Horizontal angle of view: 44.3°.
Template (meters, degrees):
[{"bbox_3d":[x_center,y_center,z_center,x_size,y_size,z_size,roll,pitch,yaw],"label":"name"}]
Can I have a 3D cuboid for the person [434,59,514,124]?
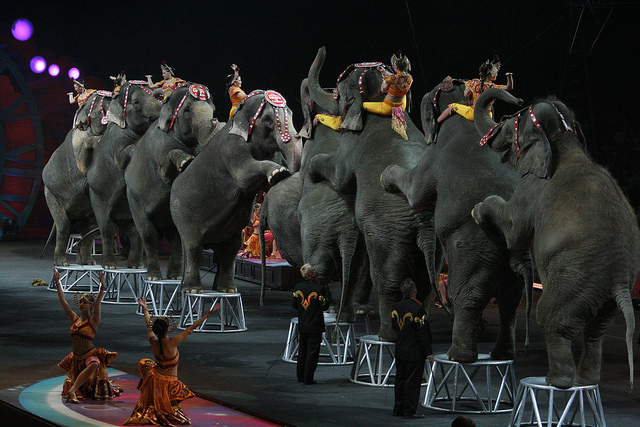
[{"bbox_3d":[1.521,-1.187,7.888,0.970,0.739,0.298,-7,34,-25],"label":"person"}]

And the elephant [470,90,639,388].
[{"bbox_3d":[2.092,0.167,6.967,1.438,2.664,0.637,7,-11,8],"label":"elephant"}]

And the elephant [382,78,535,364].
[{"bbox_3d":[1.570,-0.127,8.725,1.349,2.490,3.655,-2,16,-5],"label":"elephant"}]

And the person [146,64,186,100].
[{"bbox_3d":[-2.264,-1.894,11.581,0.638,0.624,0.269,-6,-4,10],"label":"person"}]

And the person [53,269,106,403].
[{"bbox_3d":[-2.389,1.205,7.800,0.369,1.269,0.505,18,-13,-38],"label":"person"}]

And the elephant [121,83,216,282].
[{"bbox_3d":[-1.917,-0.395,11.187,1.227,2.386,3.684,2,-10,-23],"label":"elephant"}]

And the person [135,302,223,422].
[{"bbox_3d":[-1.414,1.436,7.221,0.451,0.949,0.266,10,-11,-7],"label":"person"}]

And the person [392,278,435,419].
[{"bbox_3d":[0.869,1.279,7.466,0.451,1.308,0.315,8,-11,7],"label":"person"}]
